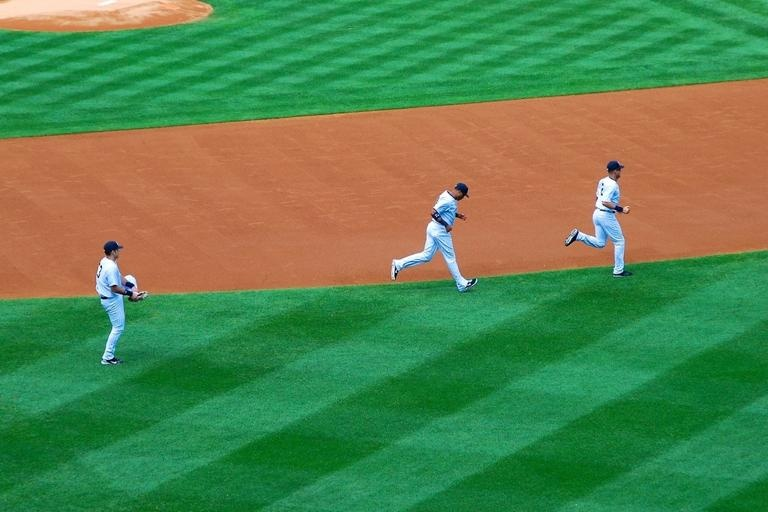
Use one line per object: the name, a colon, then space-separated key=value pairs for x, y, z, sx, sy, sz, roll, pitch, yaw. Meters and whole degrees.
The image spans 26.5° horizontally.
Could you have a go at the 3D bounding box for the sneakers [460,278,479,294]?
sneakers: x=1.738 y=0.619 z=33.121 sx=0.501 sy=0.217 sz=0.165 roll=-29 pitch=21 yaw=16

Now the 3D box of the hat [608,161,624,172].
hat: x=4.740 y=-1.804 z=33.222 sx=0.281 sy=0.200 sz=0.193 roll=-2 pitch=10 yaw=2

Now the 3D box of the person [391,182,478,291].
person: x=1.096 y=-0.351 z=33.155 sx=1.519 sy=2.191 sz=0.595 roll=1 pitch=12 yaw=22

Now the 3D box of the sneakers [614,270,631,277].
sneakers: x=4.890 y=0.390 z=33.199 sx=0.386 sy=0.122 sz=0.114 roll=-2 pitch=25 yaw=-2

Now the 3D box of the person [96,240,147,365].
person: x=-5.184 y=0.917 z=31.610 sx=0.859 sy=2.391 sz=0.754 roll=-5 pitch=11 yaw=-8

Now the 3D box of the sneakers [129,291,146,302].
sneakers: x=-4.717 y=0.811 z=31.312 sx=0.328 sy=0.105 sz=0.177 roll=-12 pitch=-10 yaw=22

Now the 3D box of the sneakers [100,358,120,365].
sneakers: x=-5.293 y=2.076 z=31.503 sx=0.387 sy=0.117 sz=0.116 roll=1 pitch=11 yaw=-3

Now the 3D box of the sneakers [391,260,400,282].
sneakers: x=0.234 y=0.325 z=33.406 sx=0.246 sy=0.385 sz=0.161 roll=3 pitch=11 yaw=-3
